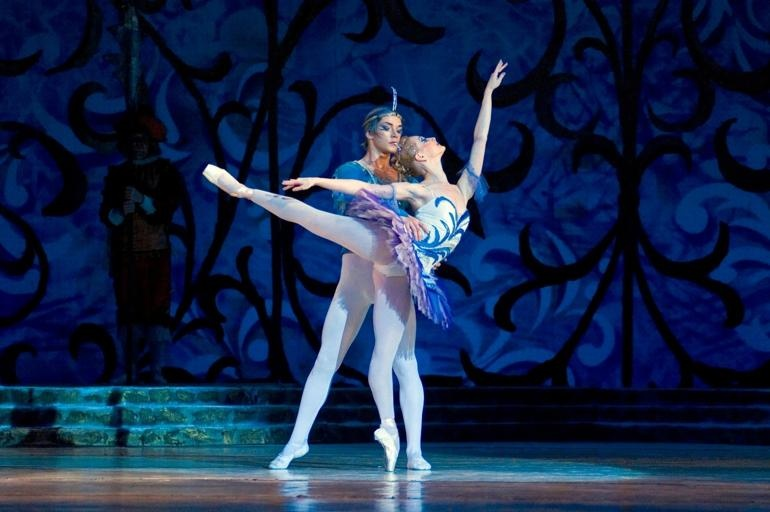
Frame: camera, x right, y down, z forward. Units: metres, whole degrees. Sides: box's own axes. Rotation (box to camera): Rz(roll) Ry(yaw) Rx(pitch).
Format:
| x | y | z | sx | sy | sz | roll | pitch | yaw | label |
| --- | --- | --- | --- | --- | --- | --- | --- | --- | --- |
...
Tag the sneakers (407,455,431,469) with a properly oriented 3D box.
| x | y | z | sx | sy | sz | roll | pitch | yaw | label |
| --- | --- | --- | --- | --- | --- | --- | --- | --- | --- |
| 0.181 | 1.211 | 6.838 | 0.055 | 0.065 | 0.127 | -9 | 4 | -25 | sneakers |
